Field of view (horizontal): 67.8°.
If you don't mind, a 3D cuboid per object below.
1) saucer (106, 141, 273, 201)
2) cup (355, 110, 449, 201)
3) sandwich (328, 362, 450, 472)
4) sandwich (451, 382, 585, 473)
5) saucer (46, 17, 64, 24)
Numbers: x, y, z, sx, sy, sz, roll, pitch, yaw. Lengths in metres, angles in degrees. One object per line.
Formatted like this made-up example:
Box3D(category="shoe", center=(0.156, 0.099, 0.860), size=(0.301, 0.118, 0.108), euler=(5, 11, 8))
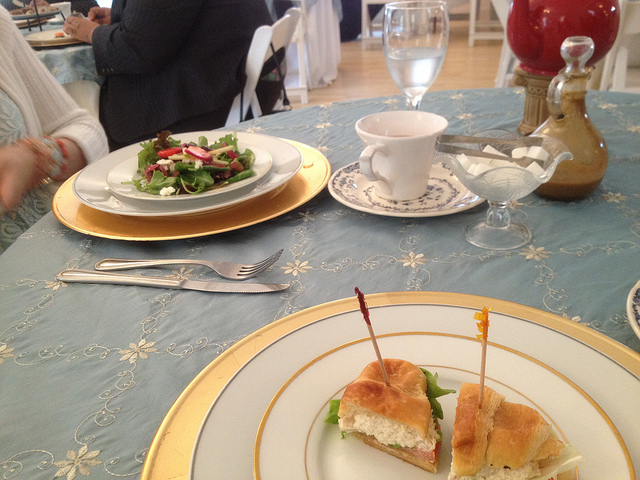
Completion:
Box3D(category="saucer", center=(-0.238, -0.138, 0.859), size=(0.279, 0.109, 0.181), euler=(-9, 20, -5))
Box3D(category="cup", center=(0.134, -0.141, 0.779), size=(0.153, 0.127, 0.160), euler=(-5, 32, 3))
Box3D(category="sandwich", center=(0.063, 0.154, 0.434), size=(0.094, 0.037, 0.091), euler=(17, 48, 24))
Box3D(category="sandwich", center=(0.168, 0.175, 0.413), size=(0.100, 0.057, 0.067), euler=(6, 34, 19))
Box3D(category="saucer", center=(-1.423, -1.178, 2.555), size=(0.076, 0.009, 0.076), euler=(2, 33, -2))
